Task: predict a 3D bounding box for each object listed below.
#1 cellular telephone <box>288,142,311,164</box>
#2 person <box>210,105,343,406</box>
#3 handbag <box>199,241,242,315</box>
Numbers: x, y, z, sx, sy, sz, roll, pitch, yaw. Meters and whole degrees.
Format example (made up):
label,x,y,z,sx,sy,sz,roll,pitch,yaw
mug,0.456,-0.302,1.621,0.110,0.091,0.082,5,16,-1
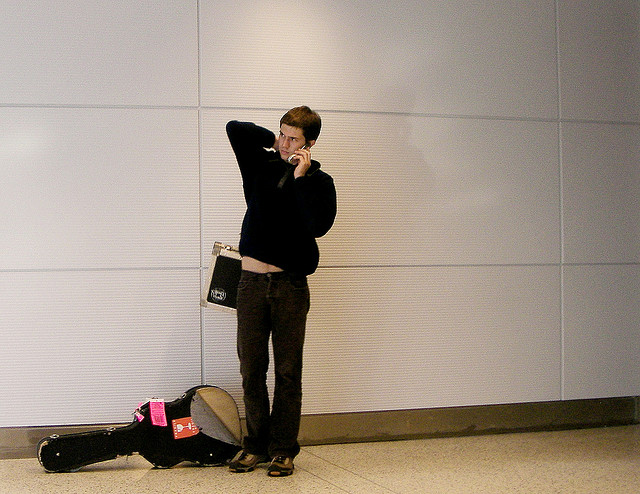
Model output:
label,x,y,z,sx,sy,sz,roll,pitch,yaw
cellular telephone,-0.113,-0.518,3.399,0.034,0.108,0.114,48,25,23
person,-0.208,0.043,3.462,0.573,1.623,0.363,0,8,-7
handbag,-0.575,0.188,3.712,0.395,0.354,0.099,10,-1,-12
